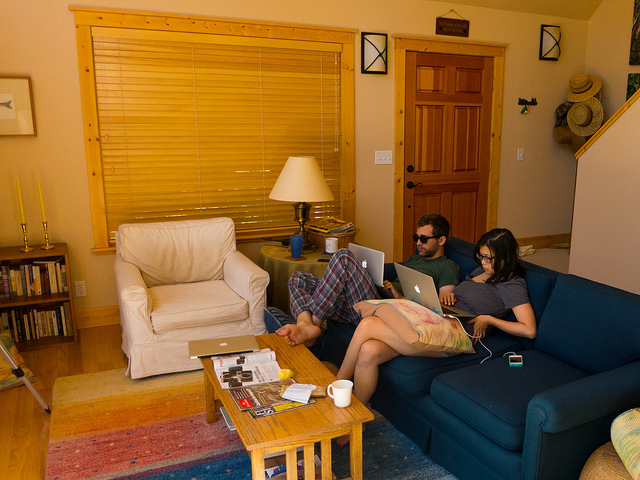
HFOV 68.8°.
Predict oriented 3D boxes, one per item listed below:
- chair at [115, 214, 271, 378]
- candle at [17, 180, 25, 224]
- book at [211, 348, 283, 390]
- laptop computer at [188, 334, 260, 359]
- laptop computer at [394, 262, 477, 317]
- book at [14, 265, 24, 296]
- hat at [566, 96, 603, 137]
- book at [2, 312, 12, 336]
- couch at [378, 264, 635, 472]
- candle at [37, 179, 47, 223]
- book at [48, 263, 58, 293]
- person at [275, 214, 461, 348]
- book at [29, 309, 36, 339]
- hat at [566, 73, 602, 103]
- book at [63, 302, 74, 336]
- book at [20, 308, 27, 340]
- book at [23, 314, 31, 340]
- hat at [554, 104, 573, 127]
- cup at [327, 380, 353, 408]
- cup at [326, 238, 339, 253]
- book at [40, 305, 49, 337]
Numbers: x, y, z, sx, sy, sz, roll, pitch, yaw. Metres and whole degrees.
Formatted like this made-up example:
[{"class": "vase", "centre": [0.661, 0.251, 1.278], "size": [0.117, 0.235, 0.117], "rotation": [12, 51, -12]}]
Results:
[{"class": "chair", "centre": [-1.009, 0.363, 3.794], "size": [1.204, 1.028, 1.175], "rotation": [-4, 12, -20]}, {"class": "candle", "centre": [-2.359, -0.280, 3.679], "size": [0.056, 0.437, 0.059], "rotation": [2, 4, 9]}, {"class": "book", "centre": [-0.370, 0.664, 2.403], "size": [0.334, 0.066, 0.273], "rotation": [-7, 13, -15]}, {"class": "laptop computer", "centre": [-0.532, 0.589, 2.593], "size": [0.373, 0.056, 0.191], "rotation": [-7, 13, -13]}, {"class": "laptop computer", "centre": [0.682, 0.303, 2.845], "size": [0.455, 0.237, 0.490], "rotation": [7, 6, 9]}, {"class": "book", "centre": [-2.357, 0.328, 3.664], "size": [0.041, 0.167, 0.166], "rotation": [-1, 0, -17]}, {"class": "hat", "centre": [2.987, -1.387, 5.286], "size": [0.357, 0.433, 0.243], "rotation": [3, 16, 27]}, {"class": "book", "centre": [-2.454, 0.644, 3.656], "size": [0.031, 0.130, 0.129], "rotation": [-6, 10, -22]}, {"class": "couch", "centre": [1.030, 0.702, 2.478], "size": [1.070, 0.873, 1.007], "rotation": [-10, 15, -26]}, {"class": "candle", "centre": [-2.223, -0.310, 3.737], "size": [0.045, 0.334, 0.147], "rotation": [-12, 16, -29]}, {"class": "book", "centre": [-2.130, 0.293, 3.719], "size": [0.080, 0.203, 0.217], "rotation": [-2, 6, -19]}, {"class": "person", "centre": [0.238, 0.207, 3.256], "size": [1.292, 0.794, 0.652], "rotation": [-10, 11, -19]}, {"class": "book", "centre": [-2.294, 0.672, 3.733], "size": [0.035, 0.227, 0.026], "rotation": [-16, 19, -40]}, {"class": "hat", "centre": [3.002, -1.718, 5.353], "size": [0.147, 0.341, 0.337], "rotation": [35, -1, -36]}, {"class": "book", "centre": [-2.043, 0.634, 3.796], "size": [0.052, 0.217, 0.212], "rotation": [-4, 9, -13]}, {"class": "book", "centre": [-2.360, 0.666, 3.722], "size": [0.028, 0.238, 0.087], "rotation": [-12, 16, -27]}, {"class": "book", "centre": [-2.326, 0.696, 3.710], "size": [0.034, 0.141, 0.142], "rotation": [-4, -2, -19]}, {"class": "hat", "centre": [2.790, -1.442, 5.427], "size": [0.077, 0.209, 0.163], "rotation": [14, 19, 3]}, {"class": "cup", "centre": [0.099, 0.706, 2.161], "size": [0.087, 0.094, 0.130], "rotation": [0, 1, -2]}, {"class": "cup", "centre": [0.097, 0.046, 3.839], "size": [0.091, 0.105, 0.114], "rotation": [-3, 6, 3]}, {"class": "book", "centre": [-2.217, 0.662, 3.771], "size": [0.041, 0.171, 0.167], "rotation": [-1, -2, -14]}]
